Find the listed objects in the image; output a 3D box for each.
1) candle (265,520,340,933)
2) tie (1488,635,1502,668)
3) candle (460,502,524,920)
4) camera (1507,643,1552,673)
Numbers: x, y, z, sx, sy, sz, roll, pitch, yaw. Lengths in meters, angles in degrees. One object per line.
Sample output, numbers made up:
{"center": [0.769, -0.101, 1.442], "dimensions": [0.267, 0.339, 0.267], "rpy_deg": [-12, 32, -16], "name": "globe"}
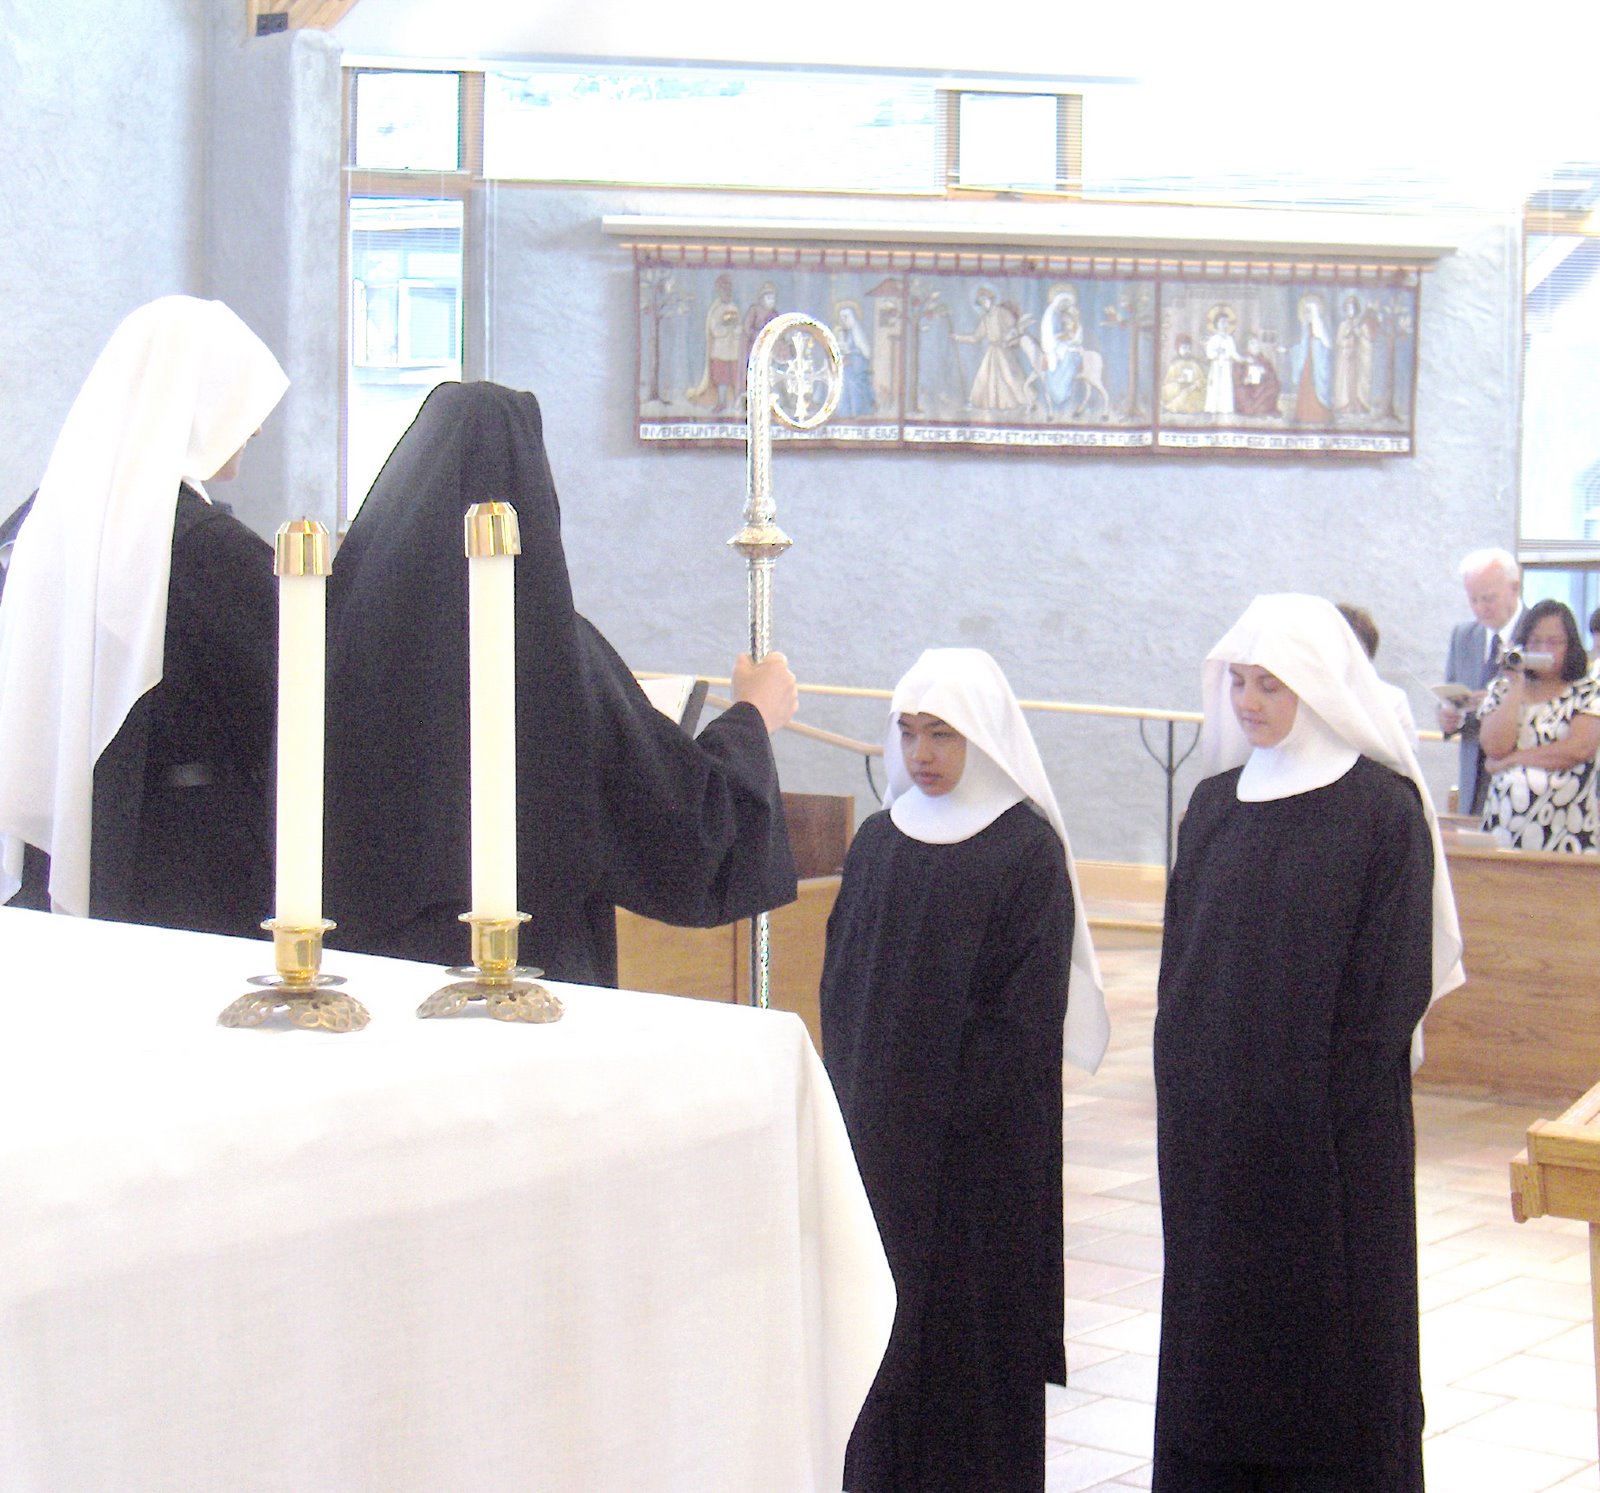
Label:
{"center": [-0.351, -0.020, 1.394], "dimensions": [0.037, 0.279, 0.104], "rpy_deg": [2, 6, -15], "name": "candle"}
{"center": [2.945, -0.403, 8.431], "dimensions": [0.041, 0.054, 0.205], "rpy_deg": [-3, 45, 18], "name": "tie"}
{"center": [-0.230, -0.030, 1.483], "dimensions": [0.046, 0.301, 0.135], "rpy_deg": [2, 6, -10], "name": "candle"}
{"center": [2.478, -0.295, 6.761], "dimensions": [0.141, 0.077, 0.108], "rpy_deg": [7, 7, 24], "name": "camera"}
